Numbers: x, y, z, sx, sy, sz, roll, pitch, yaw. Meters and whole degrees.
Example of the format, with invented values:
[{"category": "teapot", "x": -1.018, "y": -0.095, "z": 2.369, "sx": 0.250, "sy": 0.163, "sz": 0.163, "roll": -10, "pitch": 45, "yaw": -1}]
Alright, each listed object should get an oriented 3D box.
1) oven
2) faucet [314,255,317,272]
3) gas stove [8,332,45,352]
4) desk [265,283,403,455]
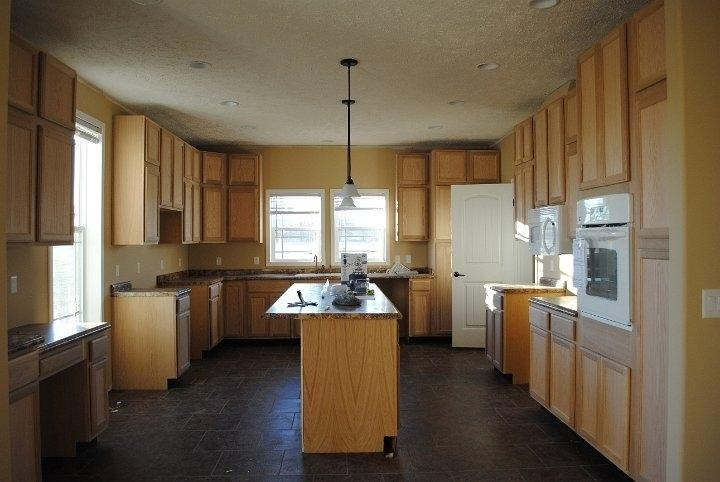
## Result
[{"category": "oven", "x": 2.107, "y": 0.139, "z": 4.332, "sx": 0.584, "sy": 1.004, "sz": 0.582, "roll": -3, "pitch": 0, "yaw": -16}, {"category": "faucet", "x": -0.682, "y": 0.328, "z": 8.162, "sx": 0.057, "sy": 0.227, "sz": 0.147, "roll": -1, "pitch": 9, "yaw": -6}, {"category": "gas stove", "x": -2.572, "y": 0.765, "z": 4.103, "sx": 0.229, "sy": 0.046, "sz": 0.501, "roll": -6, "pitch": 10, "yaw": -33}, {"category": "desk", "x": -0.206, "y": 1.076, "z": 4.961, "sx": 1.102, "sy": 0.992, "sz": 2.093, "roll": 0, "pitch": -1, "yaw": 2}]
